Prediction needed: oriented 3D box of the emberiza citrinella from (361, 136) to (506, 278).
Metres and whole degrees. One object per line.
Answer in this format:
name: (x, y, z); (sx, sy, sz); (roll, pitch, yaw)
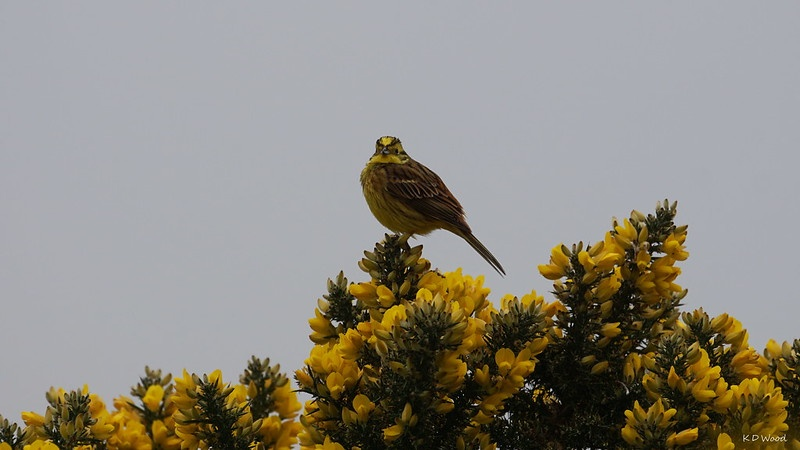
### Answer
emberiza citrinella: (0.182, -0.137, 8.151); (1.012, 0.519, 0.463); (18, -8, -16)
